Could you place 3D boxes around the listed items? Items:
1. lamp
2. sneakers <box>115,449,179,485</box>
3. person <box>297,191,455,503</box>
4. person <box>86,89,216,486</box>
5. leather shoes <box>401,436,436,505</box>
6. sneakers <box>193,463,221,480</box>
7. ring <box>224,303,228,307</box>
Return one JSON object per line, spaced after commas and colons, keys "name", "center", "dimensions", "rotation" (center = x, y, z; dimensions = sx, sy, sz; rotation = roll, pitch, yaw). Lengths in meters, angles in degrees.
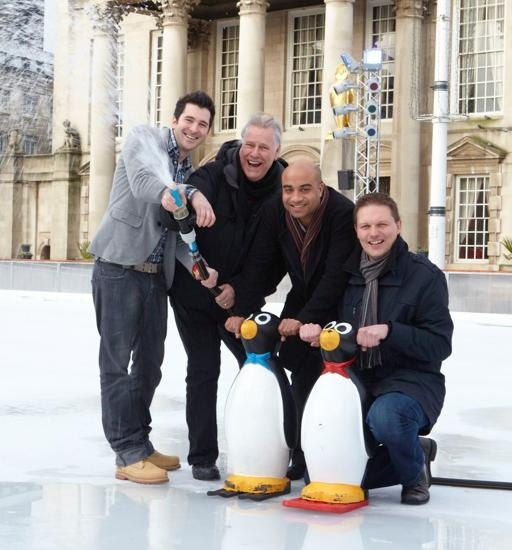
{"name": "lamp", "center": [2.329, -4.264, 16.812], "dimensions": [0.968, 1.492, 0.469], "rotation": [-2, -13, 24]}
{"name": "sneakers", "center": [-0.616, 1.073, 4.187], "dimensions": [0.309, 0.153, 0.456], "rotation": [1, 2, 2]}
{"name": "person", "center": [0.653, 0.358, 3.802], "dimensions": [0.626, 1.558, 0.617], "rotation": [3, 3, 35]}
{"name": "person", "center": [-0.630, 0.057, 4.157], "dimensions": [0.624, 2.181, 0.733], "rotation": [2, 2, 19]}
{"name": "leather shoes", "center": [0.821, 0.956, 3.809], "dimensions": [0.196, 0.388, 0.135], "rotation": [17, -13, -43]}
{"name": "sneakers", "center": [-0.284, 1.101, 4.188], "dimensions": [0.128, 0.051, 0.071], "rotation": [0, 2, -43]}
{"name": "ring", "center": [-0.164, 0.171, 4.184], "dimensions": [0.020, 0.017, 0.005], "rotation": [1, 19, -7]}
